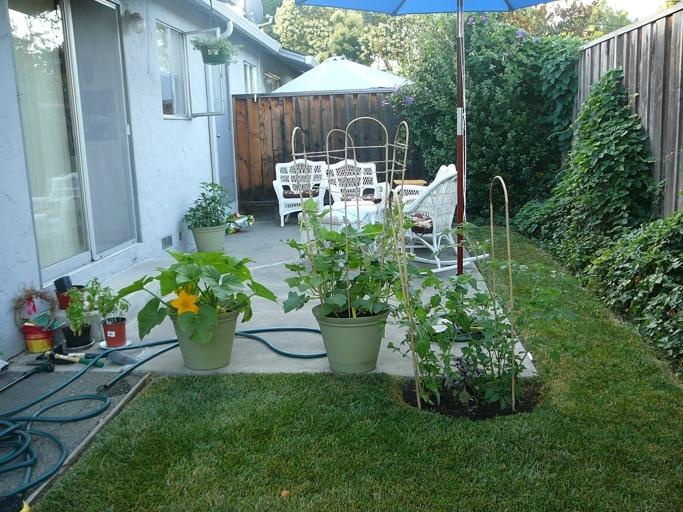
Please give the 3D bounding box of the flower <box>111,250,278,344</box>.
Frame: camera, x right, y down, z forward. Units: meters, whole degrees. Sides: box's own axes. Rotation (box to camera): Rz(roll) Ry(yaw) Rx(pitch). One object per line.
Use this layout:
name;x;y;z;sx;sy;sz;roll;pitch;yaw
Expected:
flower;-0.852;0.209;2.991;0.796;0.407;0.805;7;19;19

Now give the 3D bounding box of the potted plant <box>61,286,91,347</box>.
potted plant;-1.798;0.424;3.410;0.149;0.387;0.213;-3;12;-8

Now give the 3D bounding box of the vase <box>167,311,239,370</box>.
vase;-0.827;0.558;3.087;0.353;0.296;0.374;0;4;-1

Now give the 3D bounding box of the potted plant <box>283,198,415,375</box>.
potted plant;0.066;0.208;3.385;0.840;1.175;0.998;0;-2;0

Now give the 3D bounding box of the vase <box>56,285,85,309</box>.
vase;-1.973;0.308;3.671;0.176;0.142;0.175;5;7;44

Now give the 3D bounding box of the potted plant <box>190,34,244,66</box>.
potted plant;-1.578;-2.570;6.242;0.397;0.271;0.444;0;14;1

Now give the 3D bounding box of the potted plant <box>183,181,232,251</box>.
potted plant;-1.679;-0.501;6.298;0.554;0.840;0.646;-5;12;-15
